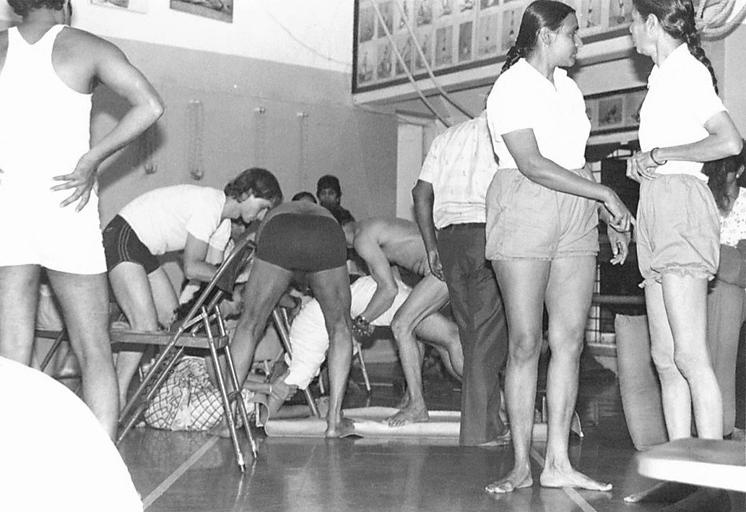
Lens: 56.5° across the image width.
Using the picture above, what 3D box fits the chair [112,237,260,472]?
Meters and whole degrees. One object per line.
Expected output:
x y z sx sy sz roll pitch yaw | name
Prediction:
-1.013 0.523 3.597 0.872 1.192 0.640 0 -2 5 | chair
